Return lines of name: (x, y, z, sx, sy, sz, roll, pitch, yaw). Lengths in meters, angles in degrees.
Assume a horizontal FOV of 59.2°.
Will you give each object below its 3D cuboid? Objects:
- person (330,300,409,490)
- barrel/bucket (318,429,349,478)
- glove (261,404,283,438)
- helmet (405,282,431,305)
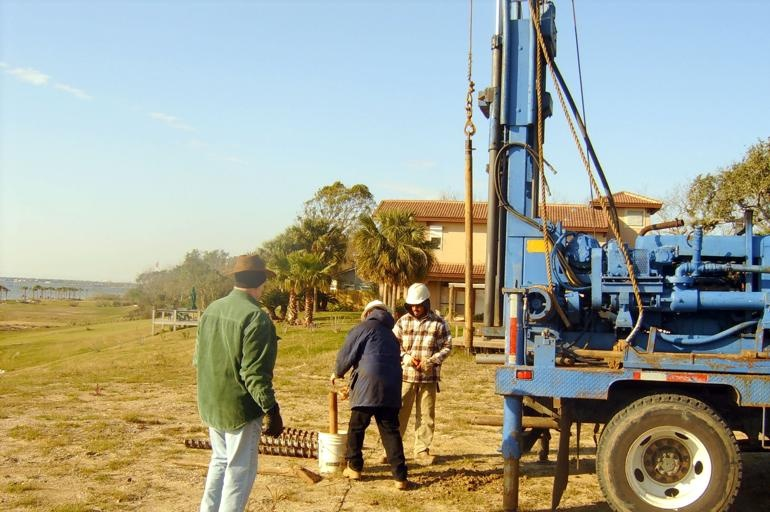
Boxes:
person: (-0.205, 1.990, 9.894, 1.040, 2.640, 0.536, 0, -2, 1)
barrel/bucket: (-0.789, 2.988, 10.197, 0.485, 0.537, 0.501, 0, -5, 0)
glove: (-1.351, 1.983, 8.110, 0.254, 0.409, 0.126, -5, 1, 21)
helmet: (0.502, 0.596, 10.646, 0.250, 0.211, 0.360, -1, 2, 22)
